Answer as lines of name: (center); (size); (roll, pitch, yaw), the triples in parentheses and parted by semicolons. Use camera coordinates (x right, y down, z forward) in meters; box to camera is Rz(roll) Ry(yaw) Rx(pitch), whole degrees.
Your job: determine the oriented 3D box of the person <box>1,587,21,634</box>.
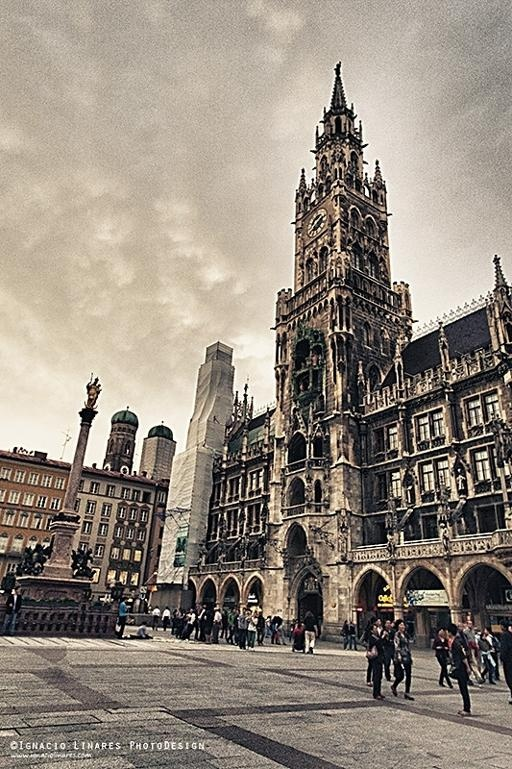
person: (-8.268, 9.315, 19.762); (0.527, 1.679, 0.894); (13, -24, -19)
